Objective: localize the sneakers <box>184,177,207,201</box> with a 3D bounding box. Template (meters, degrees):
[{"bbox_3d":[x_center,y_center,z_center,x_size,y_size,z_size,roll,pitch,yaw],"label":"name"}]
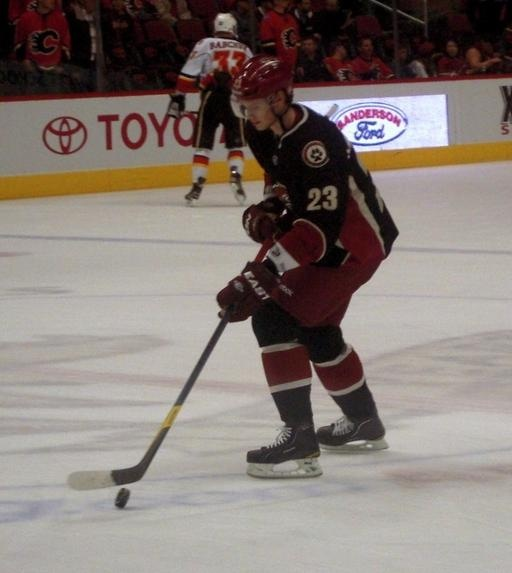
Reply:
[{"bbox_3d":[-0.654,-1.019,7.646,0.202,0.276,0.235,-1,9,1],"label":"sneakers"}]

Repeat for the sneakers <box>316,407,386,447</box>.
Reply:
[{"bbox_3d":[0.274,0.411,2.066,0.247,0.099,0.078,-14,-5,36],"label":"sneakers"}]

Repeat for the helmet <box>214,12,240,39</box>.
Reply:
[{"bbox_3d":[-0.321,-2.787,7.679,0.182,0.277,0.292,3,9,25],"label":"helmet"}]

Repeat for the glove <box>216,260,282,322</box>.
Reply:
[{"bbox_3d":[-0.015,0.009,1.749,0.189,0.119,0.052,-41,1,6],"label":"glove"}]

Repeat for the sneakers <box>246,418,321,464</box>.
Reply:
[{"bbox_3d":[0.082,0.406,1.864,0.217,0.095,0.066,-17,-21,28],"label":"sneakers"}]

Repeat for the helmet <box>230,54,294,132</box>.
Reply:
[{"bbox_3d":[0.025,-0.483,1.819,0.145,0.198,0.119,-1,9,2],"label":"helmet"}]
